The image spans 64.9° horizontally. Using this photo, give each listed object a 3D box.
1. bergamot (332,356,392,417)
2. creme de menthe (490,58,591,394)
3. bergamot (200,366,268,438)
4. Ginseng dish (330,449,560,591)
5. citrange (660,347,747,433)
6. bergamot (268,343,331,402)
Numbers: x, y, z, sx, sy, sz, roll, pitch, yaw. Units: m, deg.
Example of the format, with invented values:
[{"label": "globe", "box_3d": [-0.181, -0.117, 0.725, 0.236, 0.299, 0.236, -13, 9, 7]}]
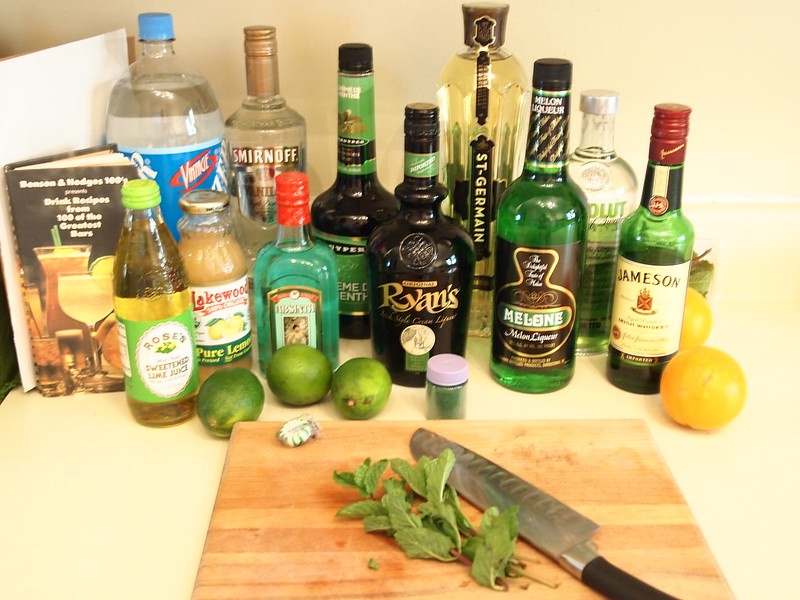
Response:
[{"label": "bergamot", "box_3d": [-0.054, 0.127, 0.950, 0.075, 0.067, 0.092, -7, 7, 12]}, {"label": "creme de menthe", "box_3d": [0.214, -0.101, 0.971, 0.153, 0.496, 0.151, 3, 23, 9]}, {"label": "bergamot", "box_3d": [-0.252, 0.142, 0.919, 0.101, 0.088, 0.118, 8, 26, 9]}, {"label": "Ginseng dish", "box_3d": [0.035, 0.237, 0.710, 0.155, 0.104, 0.261, -21, 32, -37]}, {"label": "citrange", "box_3d": [0.437, 0.128, 0.910, 0.110, 0.102, 0.072, 11, 28, 21]}, {"label": "bergamot", "box_3d": [-0.150, 0.115, 0.941, 0.095, 0.086, 0.051, -5, 27, -10]}]
